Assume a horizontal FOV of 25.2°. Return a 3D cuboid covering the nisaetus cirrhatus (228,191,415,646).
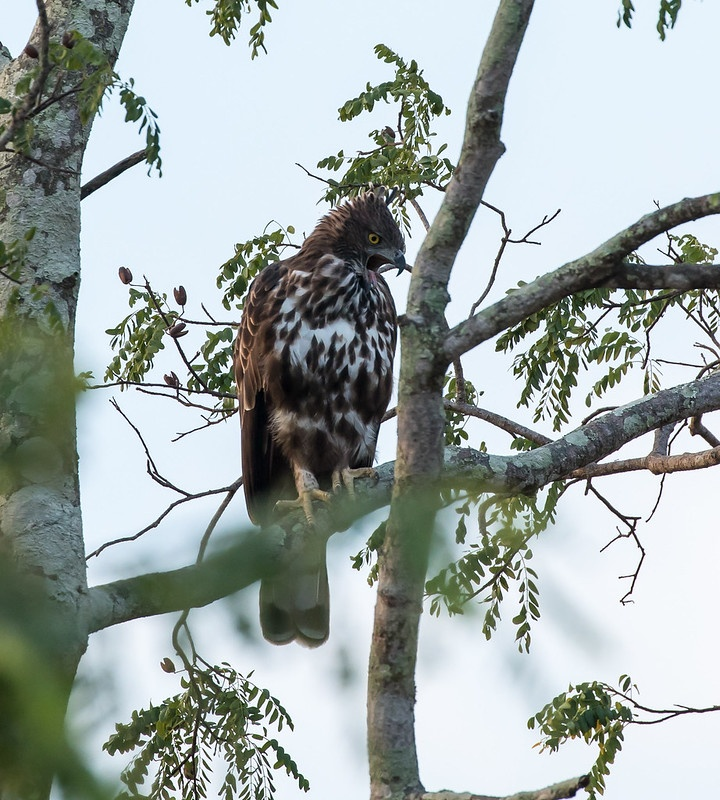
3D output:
[{"bbox_3d":[-0.144,-0.130,5.683,0.579,1.194,0.704,2,-31,3],"label":"nisaetus cirrhatus"}]
